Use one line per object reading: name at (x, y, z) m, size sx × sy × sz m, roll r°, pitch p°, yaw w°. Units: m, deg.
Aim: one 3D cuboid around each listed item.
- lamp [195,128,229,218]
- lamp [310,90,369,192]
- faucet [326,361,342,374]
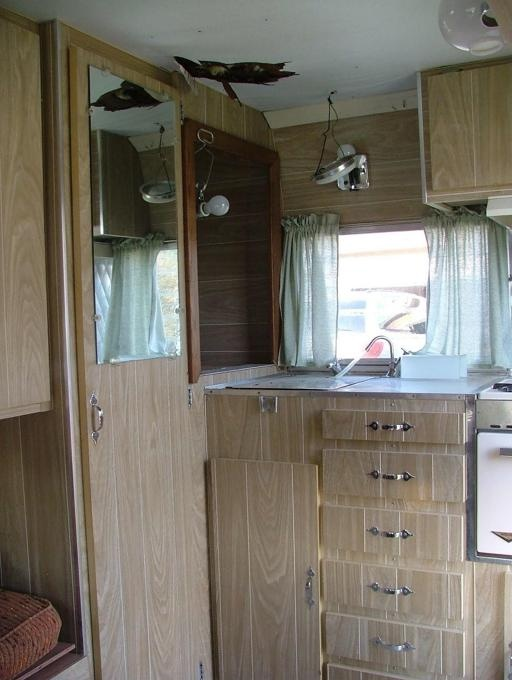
lamp at (-0.199, -0.711, 2.590) m, size 0.173 × 0.370 × 0.099 m, roll 3°, pitch 5°, yaw 18°
lamp at (0.381, -0.872, 2.738) m, size 0.188 × 0.391 × 0.176 m, roll -15°, pitch 11°, yaw -38°
faucet at (0.379, 0.137, 2.874) m, size 0.058 × 0.063 × 0.107 m, roll 8°, pitch 0°, yaw 8°
